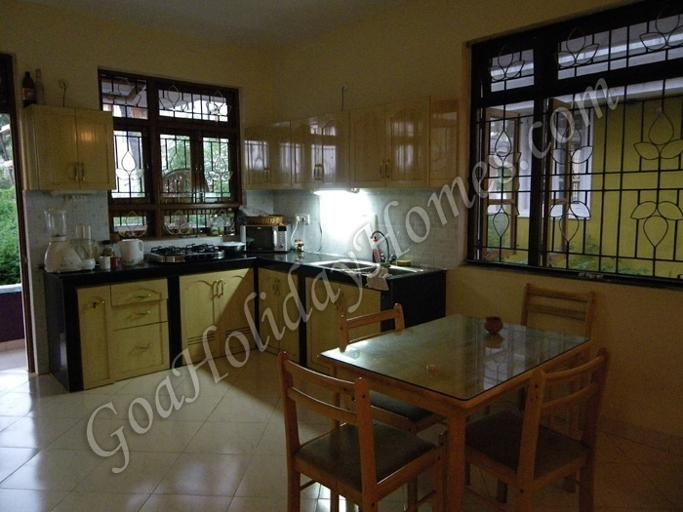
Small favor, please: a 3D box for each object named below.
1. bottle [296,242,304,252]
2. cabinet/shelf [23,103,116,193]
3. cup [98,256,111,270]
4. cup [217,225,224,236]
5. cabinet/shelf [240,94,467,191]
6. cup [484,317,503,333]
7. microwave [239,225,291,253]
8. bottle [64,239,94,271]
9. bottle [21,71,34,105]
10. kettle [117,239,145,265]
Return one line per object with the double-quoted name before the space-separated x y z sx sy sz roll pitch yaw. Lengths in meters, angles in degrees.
"bottle" -0.462 -0.100 6.194 0.063 0.111 0.195 0 8 13
"cabinet/shelf" -2.487 -0.966 5.027 0.730 0.749 0.358 -5 8 -42
"cup" -2.156 0.066 5.080 0.102 0.155 0.116 -3 4 -35
"cup" -1.370 -0.279 6.280 0.082 0.110 0.040 -6 8 -27
"cabinet/shelf" 0.003 -1.002 5.301 2.250 0.733 0.269 3 9 33
"cup" 0.999 0.462 3.710 0.100 0.088 0.100 2 6 0
"microwave" -0.841 -0.182 6.106 0.524 0.306 0.226 -3 8 -9
"bottle" -2.400 -0.008 5.166 0.291 0.340 0.294 -4 6 -35
"bottle" -2.820 -1.511 5.015 0.116 0.313 0.105 -6 9 -29
"kettle" -2.017 -0.029 5.349 0.254 0.241 0.194 -2 1 -41
